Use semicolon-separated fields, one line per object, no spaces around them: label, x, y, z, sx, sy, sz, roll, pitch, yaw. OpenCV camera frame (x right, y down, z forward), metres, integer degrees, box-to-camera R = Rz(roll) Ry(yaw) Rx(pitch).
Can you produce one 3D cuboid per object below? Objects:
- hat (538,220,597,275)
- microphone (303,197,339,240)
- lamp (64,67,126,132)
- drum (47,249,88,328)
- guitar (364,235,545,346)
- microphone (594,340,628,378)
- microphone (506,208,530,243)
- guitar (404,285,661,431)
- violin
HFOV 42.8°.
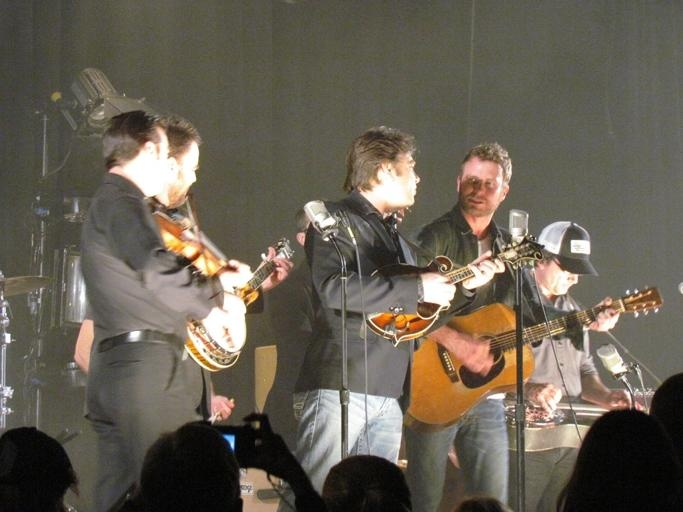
hat;1.577;-0.057;6.076;0.298;0.240;0.434;-4;35;-49
microphone;-0.119;-0.207;5.100;0.159;0.252;0.073;-38;-5;-17
lamp;-1.886;-1.182;6.514;0.233;0.584;0.385;-20;-38;-35
drum;-2.131;0.228;6.618;0.437;0.582;0.371;2;2;-36
guitar;0.682;0.193;5.392;1.397;0.516;0.146;-26;-8;-31
microphone;1.814;0.709;5.910;0.135;0.236;0.128;-29;-5;-17
microphone;1.242;-0.210;6.117;0.137;0.232;0.141;-3;-8;41
guitar;1.002;0.685;5.780;1.994;0.769;0.298;-17;-11;-2
violin;-0.809;0.018;5.312;0.075;0.285;0.718;-32;-27;14
